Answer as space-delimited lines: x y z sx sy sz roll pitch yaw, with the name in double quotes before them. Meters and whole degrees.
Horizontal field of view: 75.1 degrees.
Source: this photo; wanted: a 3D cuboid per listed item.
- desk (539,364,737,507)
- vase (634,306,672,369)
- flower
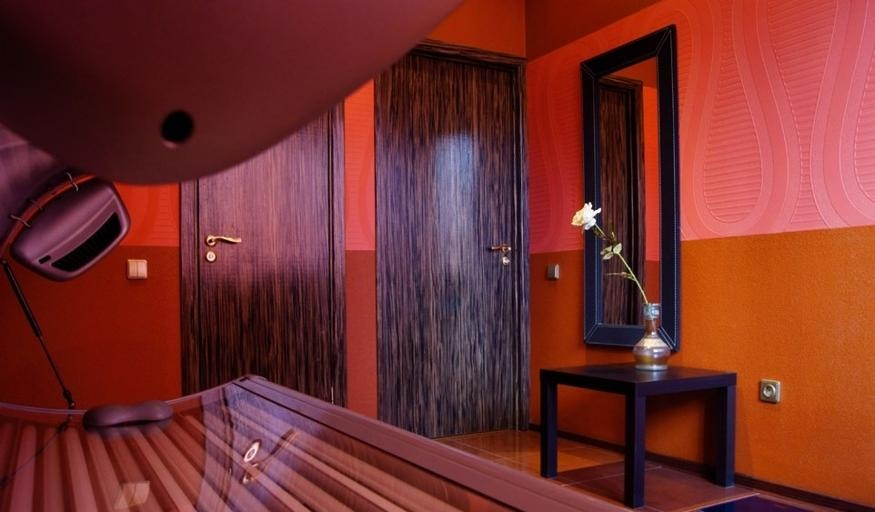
"desk" 1.026 0.858 2.961 0.854 0.592 0.691 -3 2 -28
"vase" 1.144 0.428 3.040 0.213 0.336 0.216 -1 0 -4
"flower" 1.042 -0.007 3.356 0.418 0.643 0.696 -2 2 16
